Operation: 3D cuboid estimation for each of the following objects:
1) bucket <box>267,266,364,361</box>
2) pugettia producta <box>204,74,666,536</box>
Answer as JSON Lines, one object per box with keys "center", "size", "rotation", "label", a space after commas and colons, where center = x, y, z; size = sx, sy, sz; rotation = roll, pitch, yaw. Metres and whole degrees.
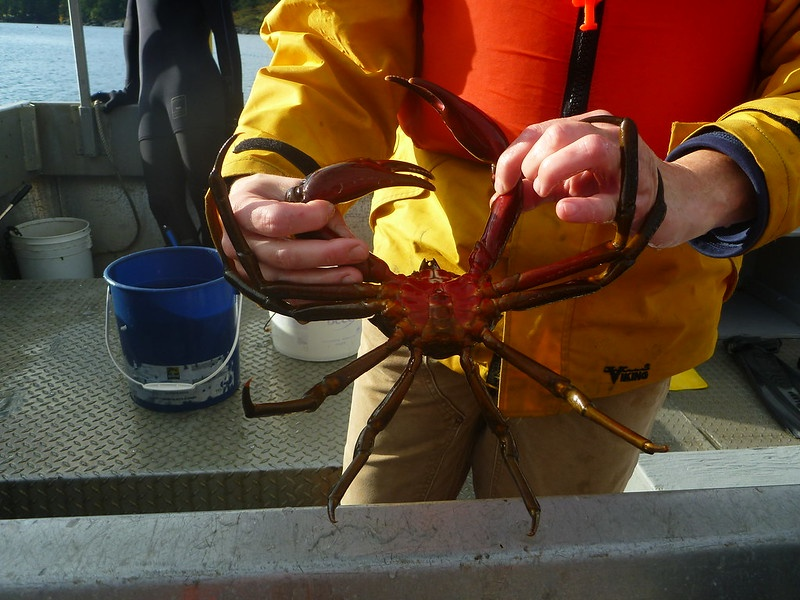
{"center": [-0.346, 0.091, 2.539], "size": [0.247, 0.221, 0.235], "rotation": [-2, 16, 1], "label": "bucket"}
{"center": [0.072, 0.038, 1.234], "size": [0.755, 0.811, 0.740], "rotation": [-8, 38, -21], "label": "pugettia producta"}
